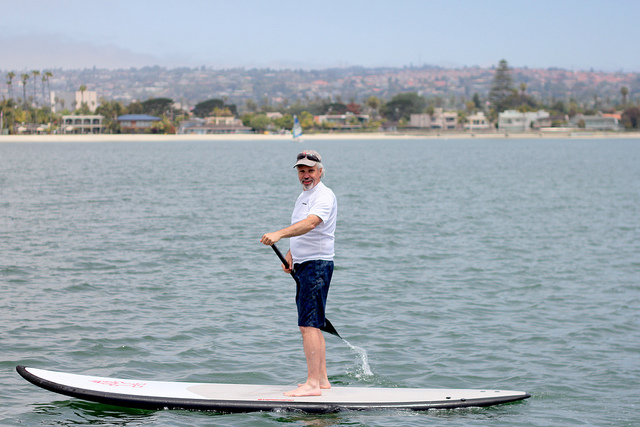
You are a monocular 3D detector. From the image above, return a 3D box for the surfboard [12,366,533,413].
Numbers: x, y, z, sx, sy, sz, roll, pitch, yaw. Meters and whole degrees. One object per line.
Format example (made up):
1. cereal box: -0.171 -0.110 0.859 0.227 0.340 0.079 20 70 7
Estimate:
1. surfboard: -2.299 7.630 54.141 19.947 1.584 0.898 1 12 0
